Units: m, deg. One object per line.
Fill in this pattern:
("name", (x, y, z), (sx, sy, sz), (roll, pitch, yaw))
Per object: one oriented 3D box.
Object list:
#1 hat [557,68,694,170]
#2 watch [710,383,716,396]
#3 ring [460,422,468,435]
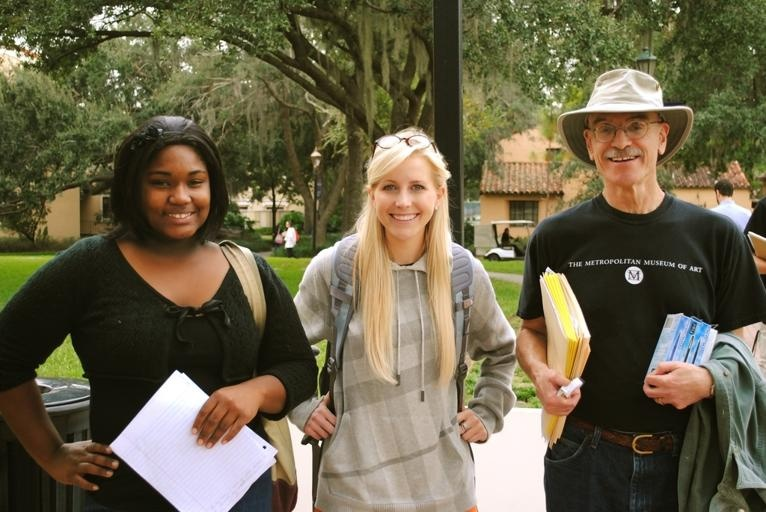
("hat", (1.328, -0.863, 3.981), (0.539, 0.331, 0.631), (8, -6, -11))
("watch", (1.696, 0.684, 3.608), (0.033, 0.049, 0.028), (-1, 5, 19))
("ring", (0.436, 0.914, 3.738), (0.042, 0.045, 0.016), (-5, 0, -13))
